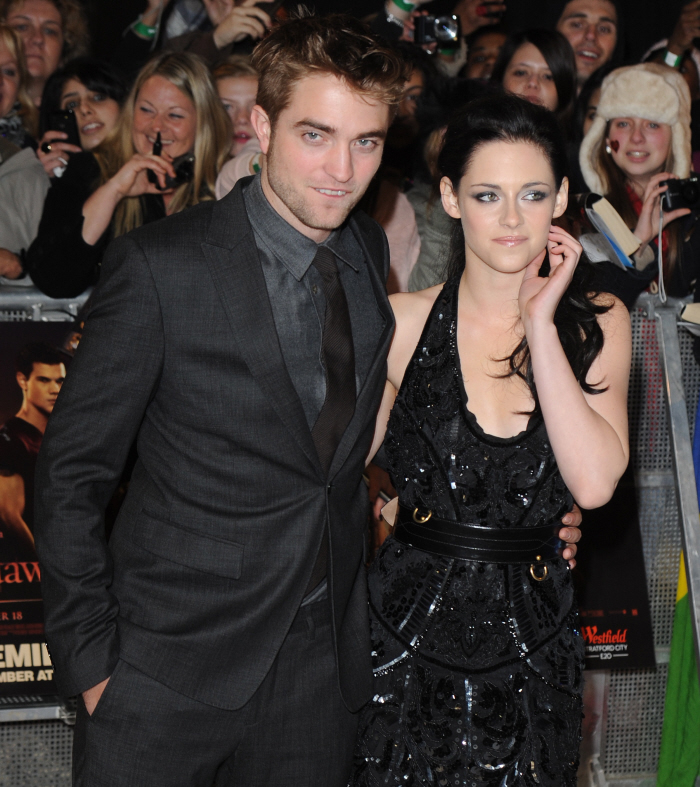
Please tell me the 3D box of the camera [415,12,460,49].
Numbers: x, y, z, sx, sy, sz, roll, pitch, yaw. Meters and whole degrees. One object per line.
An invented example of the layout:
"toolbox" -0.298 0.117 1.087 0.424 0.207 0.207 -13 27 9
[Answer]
"camera" 0.349 -1.483 3.119 0.227 0.136 0.133 0 10 3
